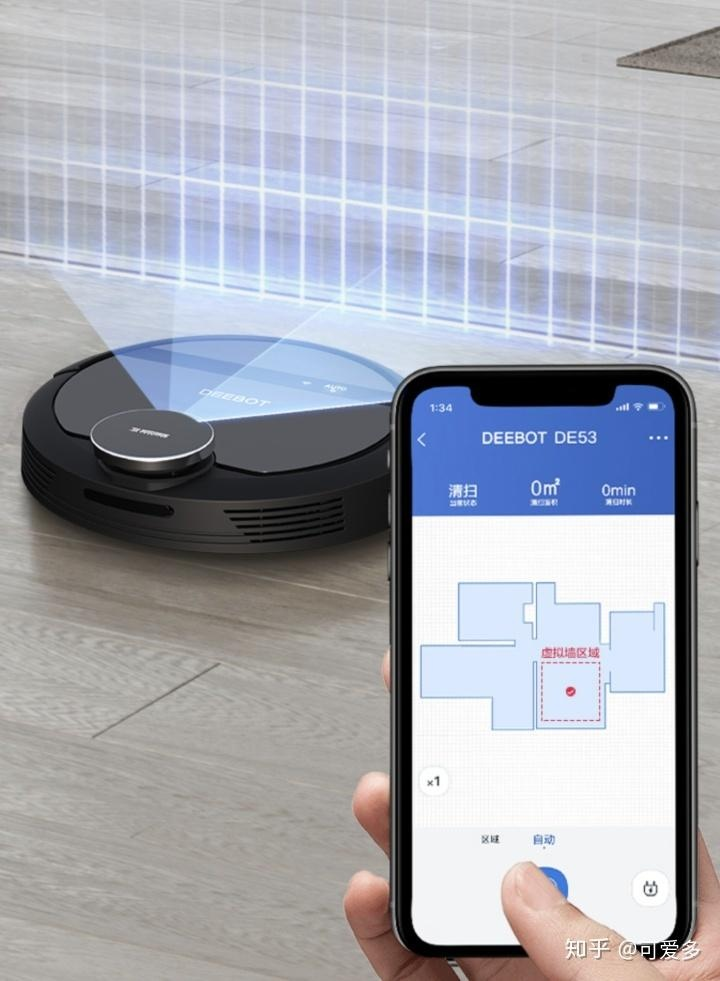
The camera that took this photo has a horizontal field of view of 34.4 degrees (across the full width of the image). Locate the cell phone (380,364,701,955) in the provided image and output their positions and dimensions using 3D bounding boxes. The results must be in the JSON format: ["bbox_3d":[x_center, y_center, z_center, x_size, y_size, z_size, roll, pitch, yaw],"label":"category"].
[{"bbox_3d":[0.056,0.049,0.356,0.095,0.168,0.082,1,17,2],"label":"cell phone"}]

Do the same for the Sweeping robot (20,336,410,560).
[{"bbox_3d":[-0.113,-0.043,0.849,0.277,0.116,0.248,1,15,2],"label":"Sweeping robot"}]
